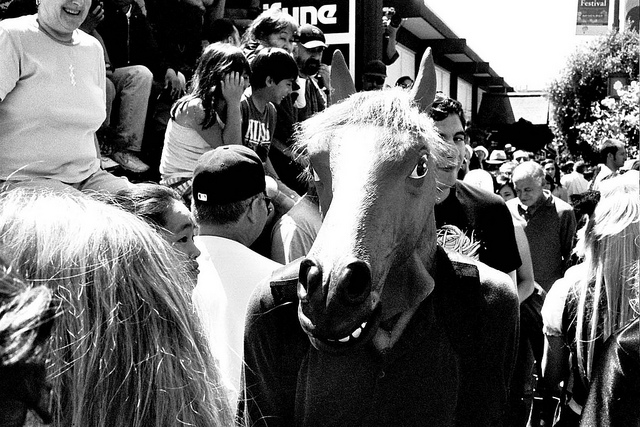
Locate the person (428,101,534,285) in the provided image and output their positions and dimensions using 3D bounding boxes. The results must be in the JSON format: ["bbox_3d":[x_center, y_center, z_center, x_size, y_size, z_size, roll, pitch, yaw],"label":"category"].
[{"bbox_3d":[1.172,-0.431,5.540,0.646,0.573,1.623,20,20,3],"label":"person"}]

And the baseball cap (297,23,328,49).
[{"bbox_3d":[-0.078,-1.730,7.883,0.277,0.230,0.374,5,2,-3],"label":"baseball cap"}]

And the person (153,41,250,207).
[{"bbox_3d":[-0.797,-0.644,6.003,0.652,1.149,0.685,23,20,30],"label":"person"}]

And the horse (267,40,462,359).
[{"bbox_3d":[0.218,-0.073,3.523,0.599,1.178,1.361,4,20,17],"label":"horse"}]
